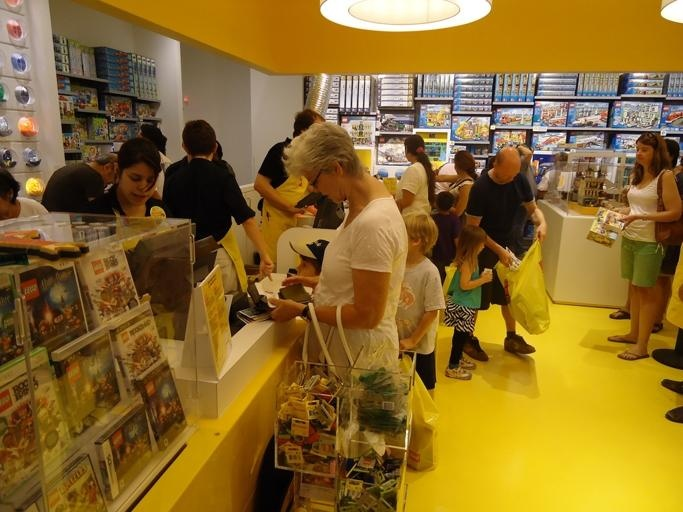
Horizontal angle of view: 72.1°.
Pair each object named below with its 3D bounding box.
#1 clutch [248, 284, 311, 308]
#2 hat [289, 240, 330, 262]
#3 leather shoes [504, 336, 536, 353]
[{"bbox_3d":[-0.269,0.172,2.049,0.163,0.053,0.132,-10,31,-10],"label":"clutch"},{"bbox_3d":[-0.152,-0.038,2.346,0.163,0.070,0.111,17,18,-13],"label":"hat"},{"bbox_3d":[1.647,0.800,4.311,0.233,0.117,0.130,5,14,35],"label":"leather shoes"}]
